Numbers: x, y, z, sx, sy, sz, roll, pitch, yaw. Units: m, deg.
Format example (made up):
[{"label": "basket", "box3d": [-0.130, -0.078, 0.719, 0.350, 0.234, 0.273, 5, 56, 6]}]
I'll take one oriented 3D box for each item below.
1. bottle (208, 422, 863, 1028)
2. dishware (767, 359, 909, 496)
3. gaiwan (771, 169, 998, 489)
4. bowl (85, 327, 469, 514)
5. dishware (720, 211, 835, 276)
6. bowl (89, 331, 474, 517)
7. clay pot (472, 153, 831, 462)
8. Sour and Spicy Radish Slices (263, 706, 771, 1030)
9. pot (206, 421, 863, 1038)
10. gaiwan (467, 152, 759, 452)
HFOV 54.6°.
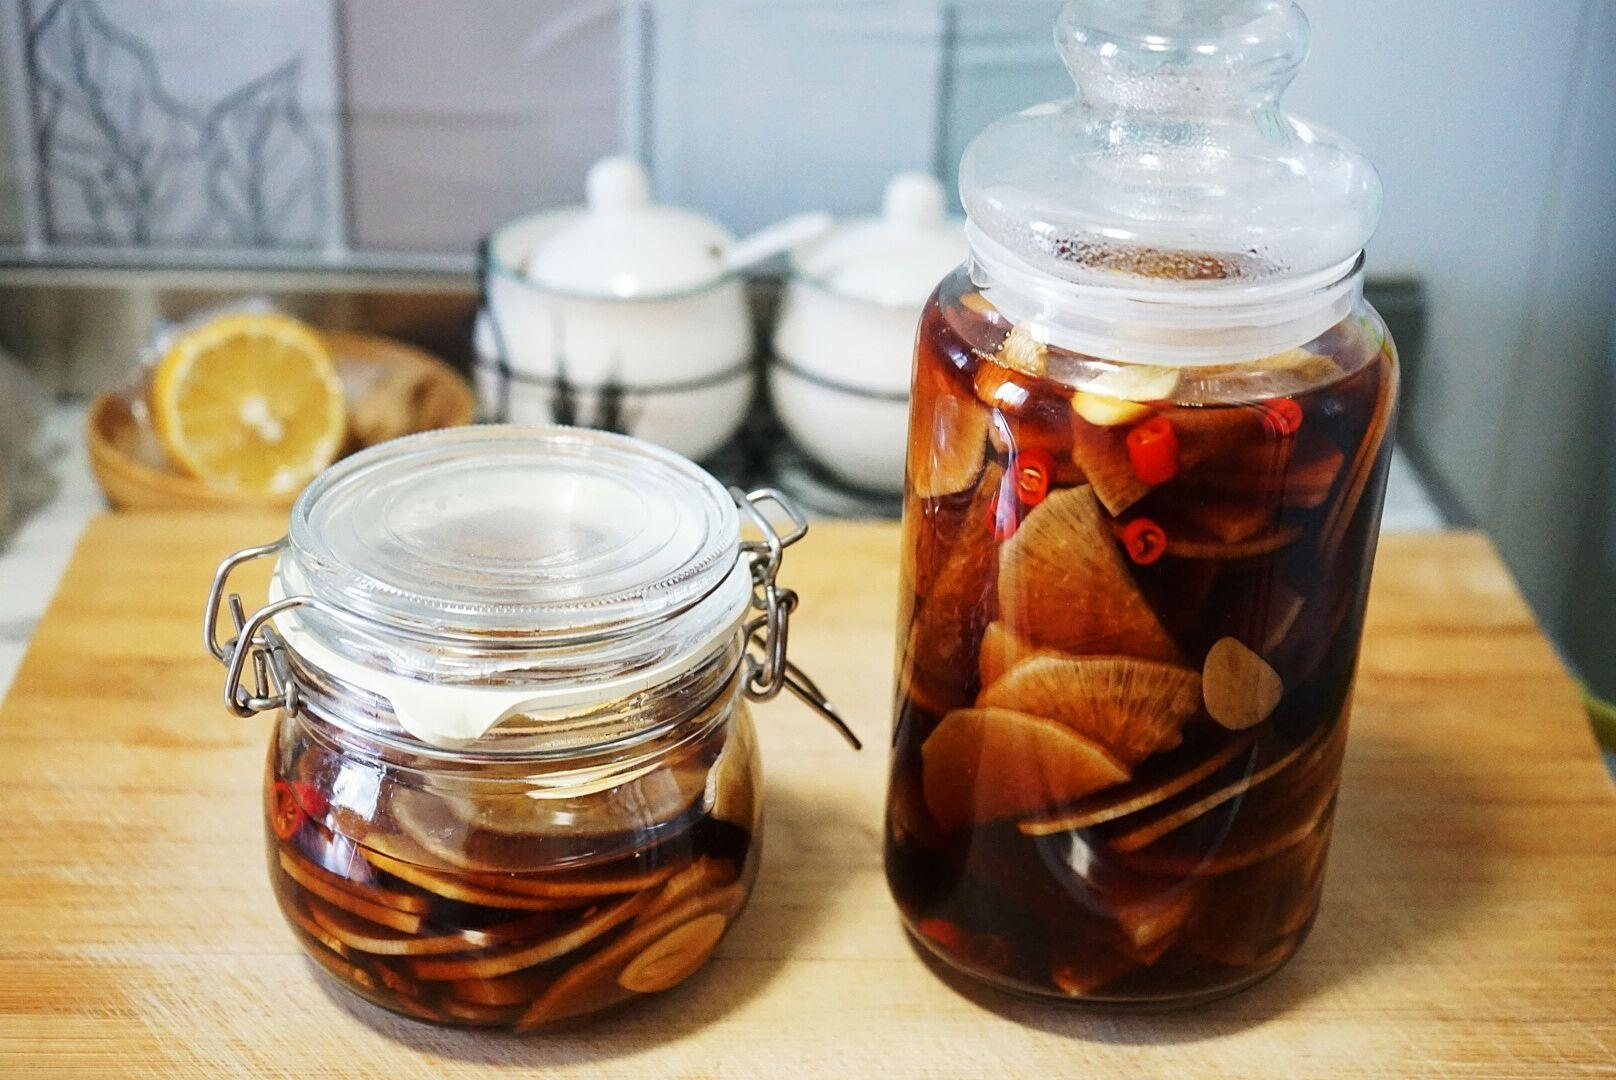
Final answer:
[{"label": "bottle", "box3d": [-0.136, 0.125, 0.857, 0.289, 0.212, 0.247, -6, 18, -38]}, {"label": "dishware", "box3d": [0.020, -0.084, 1.196, 0.095, 0.057, 0.103, 20, 10, -22]}, {"label": "gaiwan", "box3d": [0.080, -0.155, 1.190, 0.196, 0.234, 0.180, -9, 20, -11]}, {"label": "bowl", "box3d": [-0.412, -0.086, 1.220, 0.224, 0.060, 0.179, -4, 35, -9]}, {"label": "dishware", "box3d": [-0.017, -0.223, 1.177, 0.084, 0.017, 0.048, -19, 16, -18]}, {"label": "bowl", "box3d": [-0.412, -0.088, 1.224, 0.225, 0.057, 0.179, 1, 32, -1]}, {"label": "clay pot", "box3d": [-0.114, -0.194, 1.225, 0.300, 0.206, 0.188, 9, 23, 13]}, {"label": "Sour and Spicy Radish Slices", "box3d": [-0.145, 0.133, 0.746, 0.197, 0.107, 0.183, -2, 15, -15]}, {"label": "pot", "box3d": [-0.153, 0.110, 0.853, 0.339, 0.234, 0.261, -8, 21, -27]}, {"label": "gaiwan", "box3d": [-0.136, -0.189, 1.220, 0.245, 0.233, 0.237, 3, 29, 4]}]
